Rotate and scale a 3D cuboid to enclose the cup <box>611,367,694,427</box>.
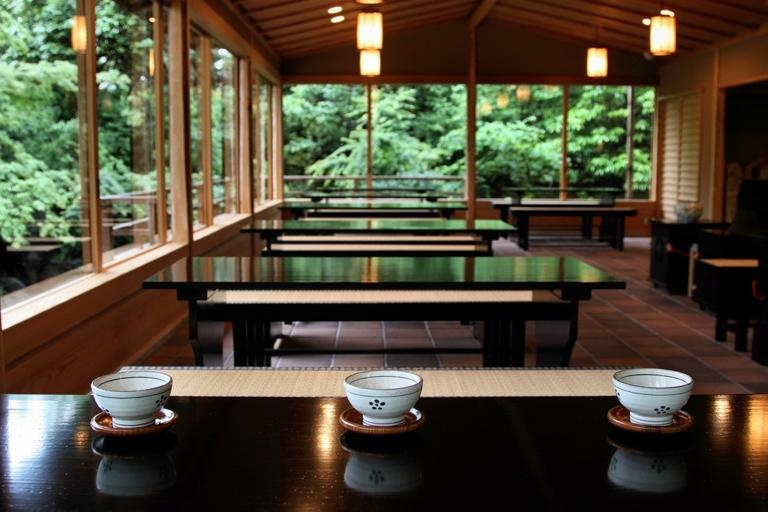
[{"bbox_3d":[0.652,0.358,1.474,0.181,0.096,0.177,-1,-2,0],"label":"cup"}]

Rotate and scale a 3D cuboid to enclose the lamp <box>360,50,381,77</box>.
[{"bbox_3d":[-0.198,-2.415,7.487,0.215,0.276,0.223,-2,13,-7],"label":"lamp"}]

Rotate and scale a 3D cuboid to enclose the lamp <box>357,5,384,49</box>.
[{"bbox_3d":[-0.163,-2.350,6.199,0.242,0.408,0.261,-1,13,-5],"label":"lamp"}]

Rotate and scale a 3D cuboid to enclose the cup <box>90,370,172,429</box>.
[{"bbox_3d":[-0.611,0.350,1.456,0.186,0.091,0.174,4,9,-1],"label":"cup"}]

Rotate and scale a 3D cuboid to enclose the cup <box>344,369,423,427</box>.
[{"bbox_3d":[-0.007,0.350,1.477,0.204,0.091,0.190,-1,6,0],"label":"cup"}]

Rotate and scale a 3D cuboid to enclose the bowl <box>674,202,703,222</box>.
[{"bbox_3d":[3.200,-0.468,6.397,0.232,0.184,0.240,-2,3,0],"label":"bowl"}]

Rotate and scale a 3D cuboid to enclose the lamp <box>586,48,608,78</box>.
[{"bbox_3d":[3.059,-2.836,8.697,0.259,0.392,0.300,2,13,11],"label":"lamp"}]
